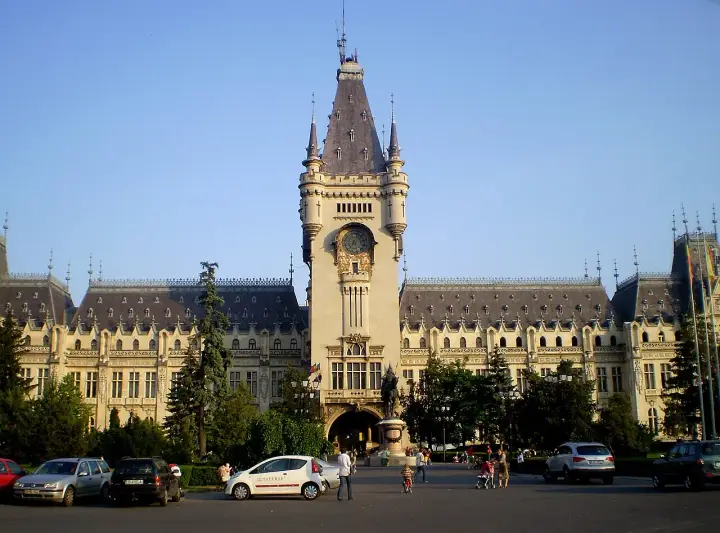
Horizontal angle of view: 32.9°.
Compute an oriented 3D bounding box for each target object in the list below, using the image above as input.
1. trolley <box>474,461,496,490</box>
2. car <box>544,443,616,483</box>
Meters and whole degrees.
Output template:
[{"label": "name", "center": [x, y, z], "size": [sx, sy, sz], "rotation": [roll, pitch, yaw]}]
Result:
[{"label": "trolley", "center": [8.716, 14.257, 83.882], "size": [1.158, 1.905, 2.287], "rotation": [-2, -10, 8]}, {"label": "car", "center": [15.374, 13.723, 85.480], "size": [4.229, 3.003, 3.768], "rotation": [-2, -12, 1]}]
